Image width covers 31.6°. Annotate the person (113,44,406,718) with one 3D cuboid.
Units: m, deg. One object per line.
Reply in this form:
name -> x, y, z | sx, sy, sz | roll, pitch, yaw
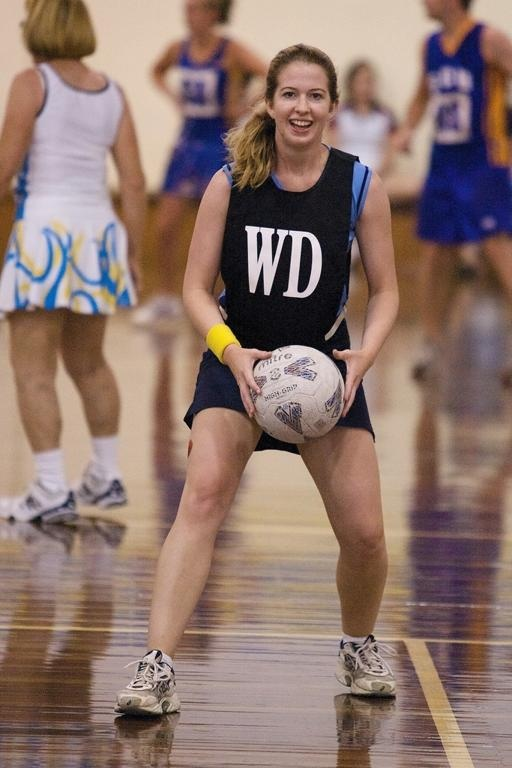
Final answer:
person -> 0.071, 0.006, 1.567 | 0.572, 1.033, 0.640 | 1, 25, -11
